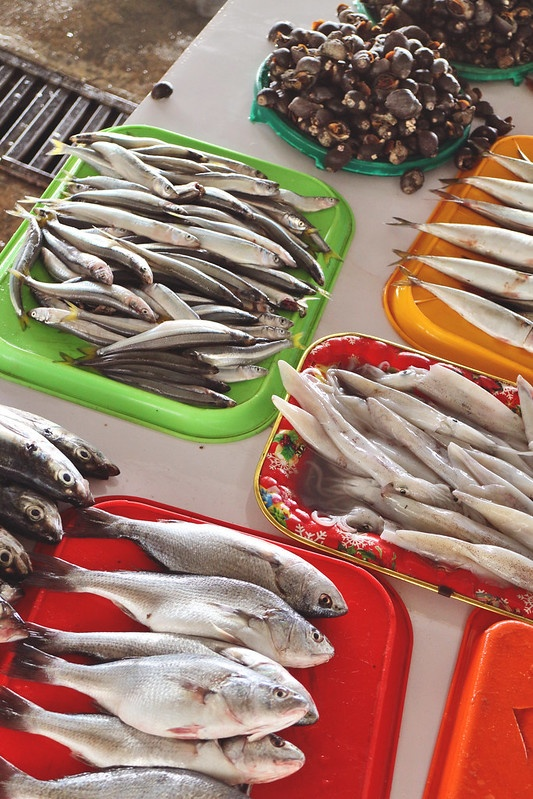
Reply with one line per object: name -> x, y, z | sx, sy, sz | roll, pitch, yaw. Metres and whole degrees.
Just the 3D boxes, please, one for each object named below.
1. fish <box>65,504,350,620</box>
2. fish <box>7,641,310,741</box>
fish -> -0.135, 0.487, 2.532 | 1.125, 0.272, 0.245 | 13, 79, 12
fish -> -0.317, 0.807, 2.287 | 0.871, 0.192, 0.188 | 5, 33, 8
